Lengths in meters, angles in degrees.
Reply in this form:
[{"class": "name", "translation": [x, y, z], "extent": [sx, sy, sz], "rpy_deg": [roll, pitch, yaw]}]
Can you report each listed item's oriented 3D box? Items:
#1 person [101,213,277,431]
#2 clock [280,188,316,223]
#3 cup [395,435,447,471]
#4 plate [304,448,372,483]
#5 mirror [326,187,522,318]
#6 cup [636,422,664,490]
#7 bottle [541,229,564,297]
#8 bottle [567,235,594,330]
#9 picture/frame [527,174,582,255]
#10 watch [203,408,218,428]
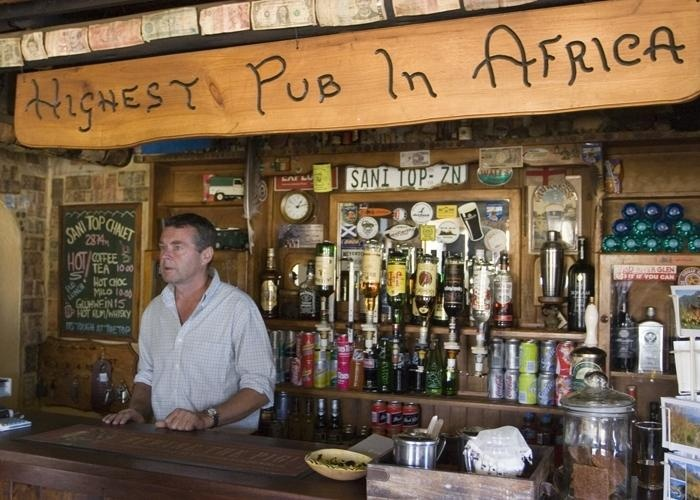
[{"class": "person", "translation": [-0.847, 0.382, 3.858], "extent": [0.819, 1.206, 0.592], "rpy_deg": [-1, -5, 10]}, {"class": "clock", "translation": [-0.380, -0.309, 4.948], "extent": [0.242, 0.222, 0.055], "rpy_deg": [-13, 13, -32]}, {"class": "cup", "translation": [0.298, 0.824, 2.855], "extent": [0.168, 0.141, 0.127], "rpy_deg": [1, -2, 29]}, {"class": "plate", "translation": [-0.037, 0.910, 2.961], "extent": [0.281, 0.073, 0.237], "rpy_deg": [7, 6, -34]}, {"class": "mirror", "translation": [0.526, 0.020, 4.557], "extent": [0.967, 0.636, 0.045], "rpy_deg": [0, -5, 13]}, {"class": "cup", "translation": [1.376, 0.947, 3.234], "extent": [0.118, 0.285, 0.246], "rpy_deg": [-2, -5, 23]}, {"class": "bottle", "translation": [1.258, 0.089, 4.380], "extent": [0.154, 0.421, 0.222], "rpy_deg": [-1, -5, 15]}, {"class": "bottle", "translation": [1.408, 0.203, 4.311], "extent": [0.159, 0.571, 0.165], "rpy_deg": [0, -5, 0]}, {"class": "picture/frame", "translation": [1.299, -0.203, 4.488], "extent": [0.354, 0.579, 0.066], "rpy_deg": [1, -25, 17]}, {"class": "watch", "translation": [-0.692, 0.846, 3.574], "extent": [0.068, 0.089, 0.098], "rpy_deg": [7, 1, 5]}]
